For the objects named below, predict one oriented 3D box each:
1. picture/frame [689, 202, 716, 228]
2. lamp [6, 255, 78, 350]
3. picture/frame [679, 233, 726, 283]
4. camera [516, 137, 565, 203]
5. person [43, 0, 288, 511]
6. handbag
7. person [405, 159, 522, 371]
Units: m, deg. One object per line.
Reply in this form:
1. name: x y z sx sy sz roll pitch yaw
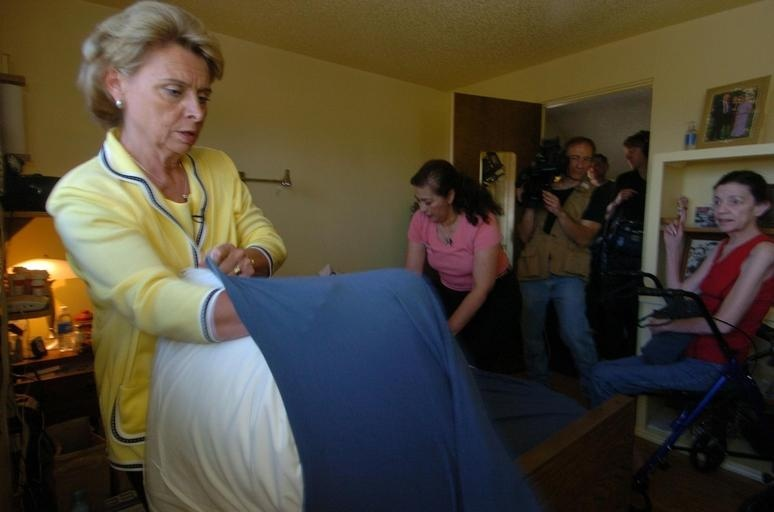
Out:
1. picture/frame: 1.955 -0.252 3.511 0.035 0.128 0.134 5 1 -12
2. lamp: -1.865 0.241 3.198 0.440 0.491 0.447 1 3 -41
3. picture/frame: 1.915 0.004 3.455 0.067 0.268 0.282 18 -11 -27
4. camera: 1.073 -0.554 3.908 0.207 0.472 0.291 18 -29 15
5. person: -0.737 -0.030 1.936 0.653 1.645 0.594 2 11 8
6. handbag: 1.460 0.396 2.925 0.113 0.374 0.266 10 2 -12
7. person: 0.462 0.055 3.419 0.576 1.247 0.662 -7 13 -33
